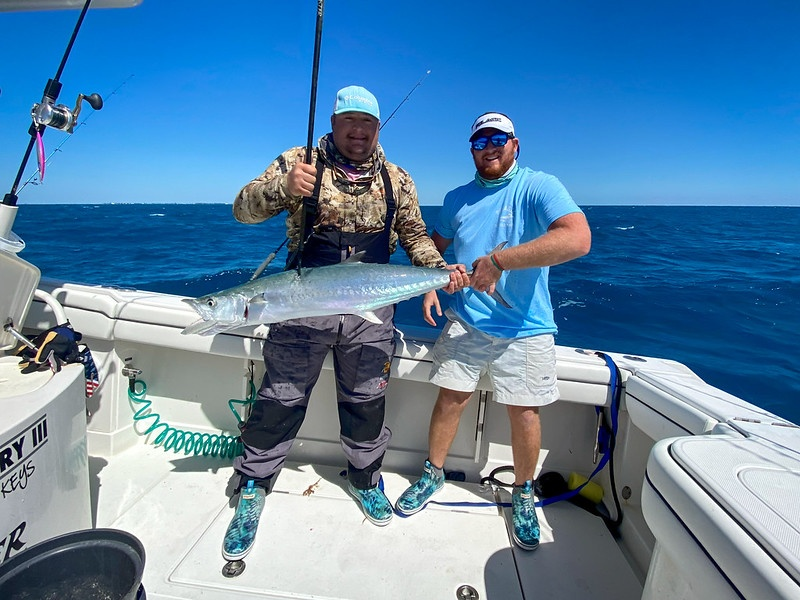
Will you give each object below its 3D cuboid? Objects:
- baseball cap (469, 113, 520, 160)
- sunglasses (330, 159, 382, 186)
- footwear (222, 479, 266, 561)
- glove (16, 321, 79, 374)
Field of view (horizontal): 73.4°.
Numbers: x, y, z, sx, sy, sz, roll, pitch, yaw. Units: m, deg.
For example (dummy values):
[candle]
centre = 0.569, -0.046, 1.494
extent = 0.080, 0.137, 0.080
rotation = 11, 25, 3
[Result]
[baseball cap]
centre = 0.559, -1.034, 3.211
extent = 0.250, 0.179, 0.243
rotation = 5, 8, 6
[sunglasses]
centre = -0.247, -0.755, 3.180
extent = 0.195, 0.083, 0.154
rotation = -19, 41, -34
[footwear]
centre = -0.877, 1.262, 3.020
extent = 0.129, 0.151, 0.380
rotation = 12, 7, -11
[glove]
centre = -1.732, 0.254, 2.690
extent = 0.261, 0.107, 0.256
rotation = -17, 62, -32
